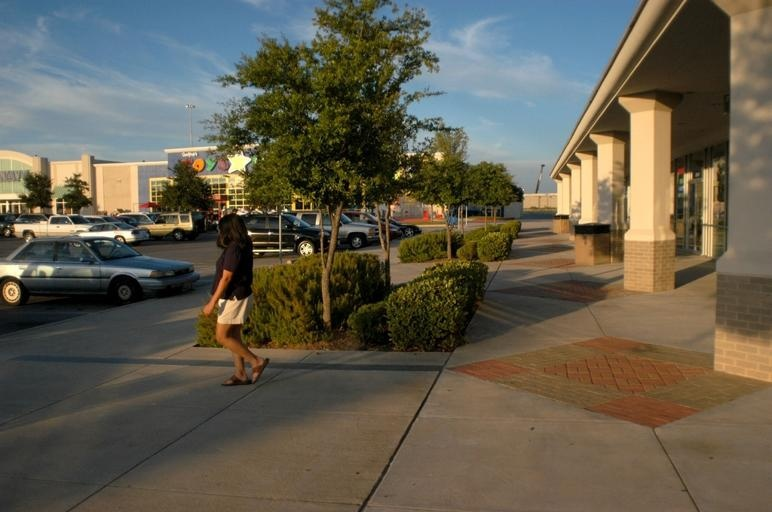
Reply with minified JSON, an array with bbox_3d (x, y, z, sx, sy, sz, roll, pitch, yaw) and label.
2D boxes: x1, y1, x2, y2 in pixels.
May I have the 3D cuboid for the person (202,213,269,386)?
[{"bbox_3d":[-2.171,0.663,8.425,0.743,2.502,0.564,-6,14,-18],"label":"person"}]

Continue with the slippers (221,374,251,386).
[{"bbox_3d":[-2.184,1.815,8.529,0.412,0.136,0.159,2,-2,-6],"label":"slippers"}]

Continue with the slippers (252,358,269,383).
[{"bbox_3d":[-1.846,1.651,8.555,0.117,0.448,0.172,31,-8,3],"label":"slippers"}]
